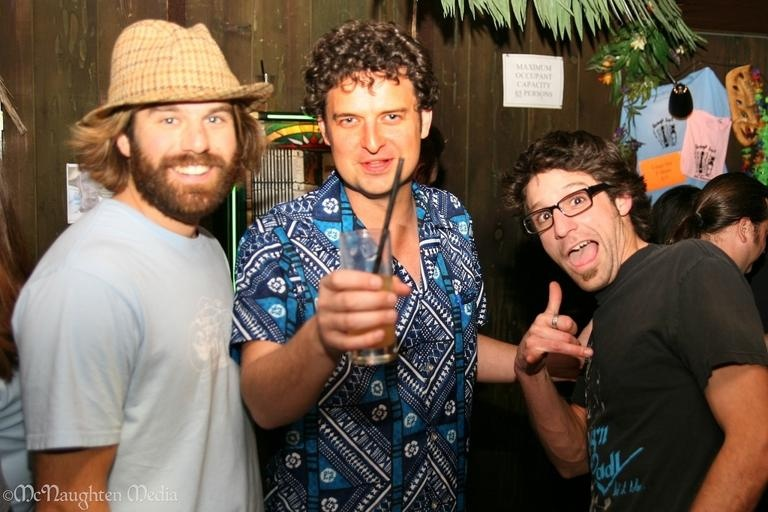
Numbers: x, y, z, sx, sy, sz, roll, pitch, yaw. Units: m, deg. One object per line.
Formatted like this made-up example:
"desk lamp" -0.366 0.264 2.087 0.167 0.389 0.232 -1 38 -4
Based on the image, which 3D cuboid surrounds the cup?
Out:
"cup" -0.048 0.164 2.646 0.183 0.518 0.175 -4 12 1
